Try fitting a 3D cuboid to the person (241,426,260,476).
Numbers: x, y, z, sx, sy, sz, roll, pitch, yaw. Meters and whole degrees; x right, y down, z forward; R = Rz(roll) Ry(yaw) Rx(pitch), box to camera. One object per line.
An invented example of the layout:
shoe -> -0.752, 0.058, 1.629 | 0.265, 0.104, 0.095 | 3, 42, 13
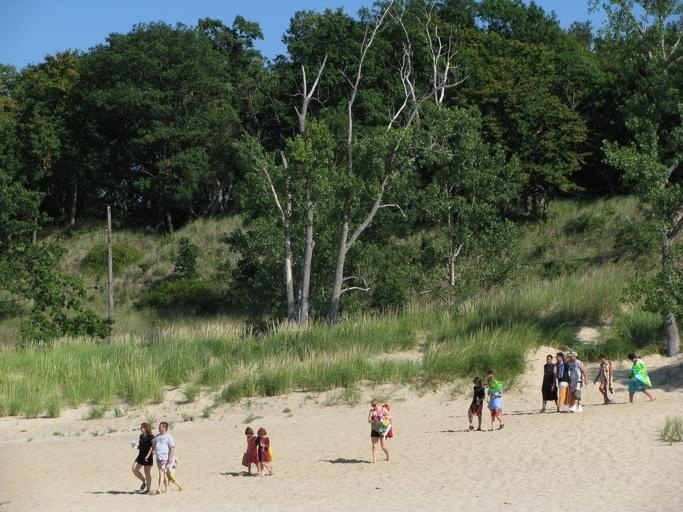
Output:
person -> -4.067, 8.726, 51.866 | 0.739, 2.097, 1.584 | -1, -4, -6
